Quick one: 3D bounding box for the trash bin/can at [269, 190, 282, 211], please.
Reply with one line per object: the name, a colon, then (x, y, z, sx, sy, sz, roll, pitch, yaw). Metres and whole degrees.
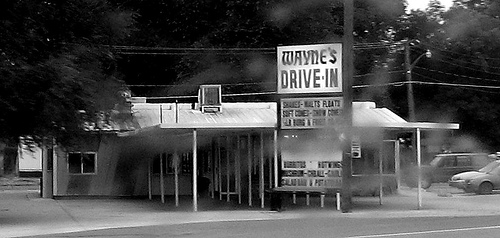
trash bin/can: (1.417, 4.525, 34.944, 0.530, 1.028, 0.732, 1, -7, -8)

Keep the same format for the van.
van: (16.198, 3.768, 49.714, 5.261, 1.847, 2.316, 0, -4, 1)
